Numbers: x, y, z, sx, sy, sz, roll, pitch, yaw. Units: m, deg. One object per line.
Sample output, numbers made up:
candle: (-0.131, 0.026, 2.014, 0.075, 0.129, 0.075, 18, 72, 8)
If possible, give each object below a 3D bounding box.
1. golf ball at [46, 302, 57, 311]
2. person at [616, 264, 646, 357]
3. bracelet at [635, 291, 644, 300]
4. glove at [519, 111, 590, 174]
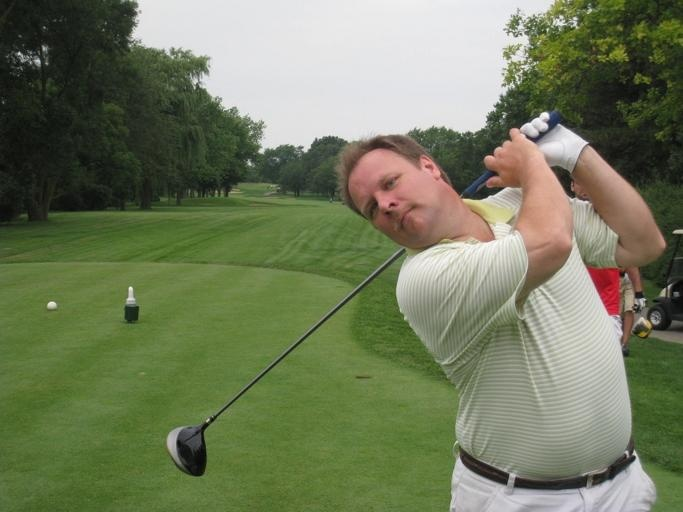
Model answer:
golf ball: (-4.484, 0.777, 10.556, 0.139, 0.147, 0.139, 6, 19, -2)
person: (3.773, 0.747, 8.882, 0.401, 1.298, 0.355, 7, 9, 35)
bracelet: (4.025, 0.528, 9.193, 0.086, 0.087, 0.109, -5, -5, 4)
glove: (1.011, -0.531, 3.207, 0.304, 0.286, 0.103, 49, 3, 21)
